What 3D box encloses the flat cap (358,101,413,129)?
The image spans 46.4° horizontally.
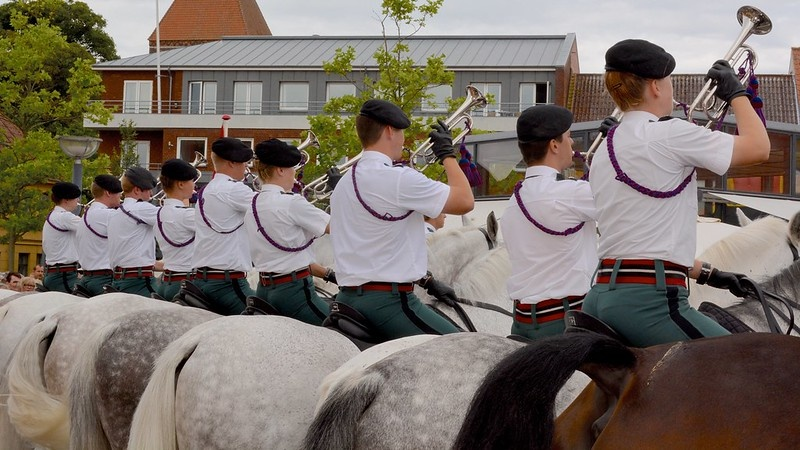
[{"bbox_3d":[-0.137,-1.106,9.316,0.371,0.122,0.332,24,9,11],"label":"flat cap"}]

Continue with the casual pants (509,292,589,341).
[{"bbox_3d":[1.374,0.842,8.662,0.572,0.377,0.435,1,-5,3],"label":"casual pants"}]

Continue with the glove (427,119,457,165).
[{"bbox_3d":[0.402,-0.783,9.158,0.237,0.515,0.161,3,-37,-29],"label":"glove"}]

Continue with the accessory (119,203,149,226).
[{"bbox_3d":[-3.647,-0.132,12.813,0.312,0.078,0.249,41,-11,-29],"label":"accessory"}]

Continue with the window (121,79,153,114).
[{"bbox_3d":[-11.793,-5.754,41.834,2.049,2.057,0.139,-1,-9,4],"label":"window"}]

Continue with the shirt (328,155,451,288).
[{"bbox_3d":[-0.142,-0.093,9.460,0.918,1.271,1.696,-7,5,-33],"label":"shirt"}]

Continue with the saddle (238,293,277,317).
[{"bbox_3d":[-1.501,0.866,9.900,0.209,0.105,0.278,8,-17,42],"label":"saddle"}]

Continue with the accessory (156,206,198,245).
[{"bbox_3d":[-2.963,0.046,11.947,0.463,0.493,0.126,-6,-2,5],"label":"accessory"}]

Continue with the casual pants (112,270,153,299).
[{"bbox_3d":[-3.683,0.790,12.882,0.552,0.365,0.436,-3,0,-21],"label":"casual pants"}]

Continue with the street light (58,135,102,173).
[{"bbox_3d":[-6.343,-1.414,18.383,0.711,0.416,0.695,0,1,-12],"label":"street light"}]

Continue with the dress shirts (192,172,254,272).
[{"bbox_3d":[-2.005,-0.034,11.360,0.992,1.140,0.873,5,8,33],"label":"dress shirts"}]

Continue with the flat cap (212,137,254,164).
[{"bbox_3d":[-2.036,-0.905,11.358,0.380,0.110,0.362,13,14,-15],"label":"flat cap"}]

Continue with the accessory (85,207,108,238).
[{"bbox_3d":[-4.435,-0.029,13.492,0.128,0.396,0.393,-32,-40,29],"label":"accessory"}]

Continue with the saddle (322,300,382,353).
[{"bbox_3d":[-0.494,0.997,9.119,0.549,0.319,0.372,27,-17,-6],"label":"saddle"}]

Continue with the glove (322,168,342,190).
[{"bbox_3d":[-0.745,-0.499,10.411,0.228,0.273,0.090,3,-19,7],"label":"glove"}]

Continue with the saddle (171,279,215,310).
[{"bbox_3d":[-2.472,0.816,11.069,0.506,0.296,0.332,15,15,-49],"label":"saddle"}]

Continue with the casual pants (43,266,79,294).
[{"bbox_3d":[-5.234,0.886,14.497,0.564,0.485,0.335,-1,-9,-6],"label":"casual pants"}]

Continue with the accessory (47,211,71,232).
[{"bbox_3d":[-5.243,-0.054,14.260,0.346,0.301,0.086,11,14,20],"label":"accessory"}]

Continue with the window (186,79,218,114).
[{"bbox_3d":[-8.648,-5.564,40.765,1.803,1.903,0.145,-4,-11,16],"label":"window"}]

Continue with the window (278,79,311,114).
[{"bbox_3d":[-4.510,-5.428,39.983,2.084,1.897,0.143,-1,-35,3],"label":"window"}]

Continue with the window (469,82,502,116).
[{"bbox_3d":[3.241,-4.969,37.410,1.547,1.811,0.154,-4,-28,4],"label":"window"}]

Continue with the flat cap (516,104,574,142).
[{"bbox_3d":[1.387,-0.990,8.840,0.411,0.418,0.121,8,-47,42],"label":"flat cap"}]
